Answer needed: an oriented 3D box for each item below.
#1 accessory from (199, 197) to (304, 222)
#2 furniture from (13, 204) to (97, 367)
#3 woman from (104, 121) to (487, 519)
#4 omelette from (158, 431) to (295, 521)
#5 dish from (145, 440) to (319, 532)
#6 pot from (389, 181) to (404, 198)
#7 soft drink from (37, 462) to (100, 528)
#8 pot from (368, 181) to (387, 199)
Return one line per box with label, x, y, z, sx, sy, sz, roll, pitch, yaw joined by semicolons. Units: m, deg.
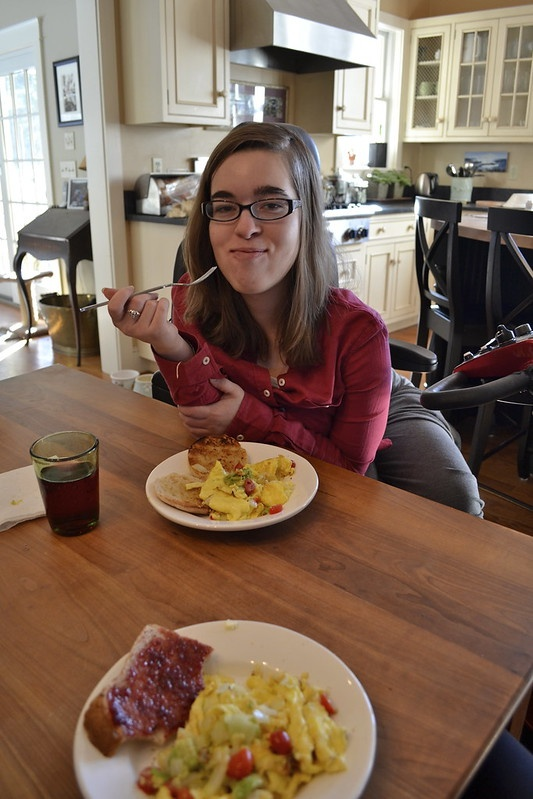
accessory;-0.026;-0.342;1.065;0.174;0.042;0.079;1;22;2
furniture;-1.318;-0.849;4.079;0.582;0.878;0.537;18;27;32
woman;0.140;0.016;1.347;0.644;1.184;0.599;0;23;19
omelette;-0.056;0.088;0.815;0.126;0.029;0.116;23;27;26
dish;-0.044;0.124;0.797;0.142;0.024;0.141;1;25;3
pot;1.125;-1.799;5.101;0.110;0.106;0.147;22;34;40
soft drink;-0.258;0.122;0.779;0.071;0.103;0.066;-2;13;-5
pot;0.927;-1.749;4.949;0.130;0.151;0.157;-5;23;-9
